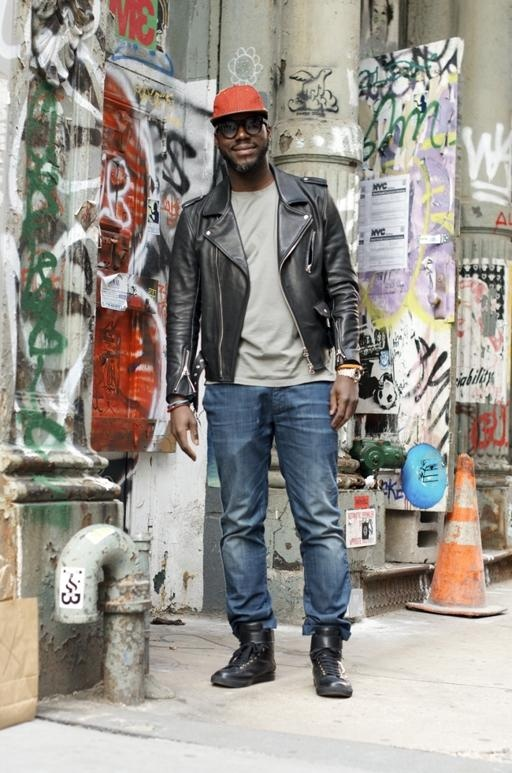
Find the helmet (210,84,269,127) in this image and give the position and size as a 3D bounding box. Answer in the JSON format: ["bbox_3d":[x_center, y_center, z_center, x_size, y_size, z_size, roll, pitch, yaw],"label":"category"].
[{"bbox_3d":[-0.061,-0.875,3.066,0.154,0.132,0.269,-5,0,0],"label":"helmet"}]

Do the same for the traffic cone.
[{"bbox_3d":[1.044,0.760,4.980,0.484,0.793,0.511,0,1,22],"label":"traffic cone"}]

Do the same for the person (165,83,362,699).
[{"bbox_3d":[0.000,-0.010,3.057,0.647,1.866,0.573,0,1,8],"label":"person"}]

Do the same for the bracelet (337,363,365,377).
[{"bbox_3d":[0.293,-0.052,3.051,0.050,0.033,0.045,1,-5,23],"label":"bracelet"}]

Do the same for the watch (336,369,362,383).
[{"bbox_3d":[0.294,-0.031,3.046,0.041,0.033,0.050,4,-7,-42],"label":"watch"}]

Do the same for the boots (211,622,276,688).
[{"bbox_3d":[-0.039,0.835,2.978,0.158,0.175,0.271,0,0,14],"label":"boots"}]
